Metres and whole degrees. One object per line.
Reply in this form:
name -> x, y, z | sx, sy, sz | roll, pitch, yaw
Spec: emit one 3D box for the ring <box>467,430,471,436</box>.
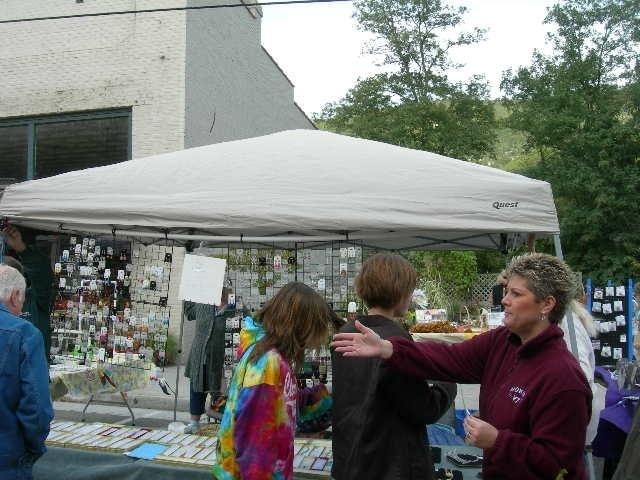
ring -> 1.038, 1.355, 4.637 | 0.027, 0.020, 0.027 | 0, -6, 0
